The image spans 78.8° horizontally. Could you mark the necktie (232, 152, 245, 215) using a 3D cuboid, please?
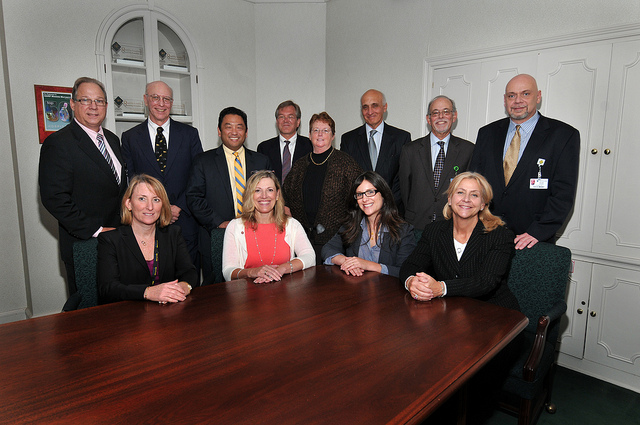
[{"bbox_3d":[-0.807,-0.297,3.908,0.094,0.596,0.277,-4,14,-12],"label":"necktie"}]

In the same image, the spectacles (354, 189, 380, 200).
[{"bbox_3d":[0.386,-0.151,3.189,0.190,0.079,0.057,1,13,8],"label":"spectacles"}]

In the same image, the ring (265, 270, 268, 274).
[{"bbox_3d":[-0.383,0.421,2.758,0.025,0.026,0.006,-13,4,-26],"label":"ring"}]

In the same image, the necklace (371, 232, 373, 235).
[{"bbox_3d":[0.436,0.173,3.267,0.021,0.022,0.021,6,6,1],"label":"necklace"}]

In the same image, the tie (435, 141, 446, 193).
[{"bbox_3d":[1.211,-0.500,3.921,0.112,0.393,0.040,5,-6,16],"label":"tie"}]

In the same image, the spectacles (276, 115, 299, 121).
[{"bbox_3d":[-0.402,-1.121,4.602,0.219,0.065,0.066,1,13,6],"label":"spectacles"}]

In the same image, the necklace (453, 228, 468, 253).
[{"bbox_3d":[1.070,0.215,2.942,0.138,0.147,0.043,14,25,31],"label":"necklace"}]

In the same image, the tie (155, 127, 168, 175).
[{"bbox_3d":[-1.593,-0.632,3.897,0.125,0.431,0.173,-8,15,-29],"label":"tie"}]

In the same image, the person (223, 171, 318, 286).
[{"bbox_3d":[-0.419,0.070,3.137,0.701,1.052,0.832,-9,7,-13],"label":"person"}]

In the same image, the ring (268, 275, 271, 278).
[{"bbox_3d":[-0.359,0.450,2.741,0.016,0.016,0.004,-1,-1,-25],"label":"ring"}]

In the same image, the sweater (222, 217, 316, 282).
[{"bbox_3d":[-0.415,0.271,3.254,0.810,0.806,0.471,0,0,-17],"label":"sweater"}]

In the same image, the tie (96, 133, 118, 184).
[{"bbox_3d":[-1.910,-0.519,3.469,0.077,0.545,0.064,-19,-15,-16],"label":"tie"}]

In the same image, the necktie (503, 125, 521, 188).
[{"bbox_3d":[1.725,-0.509,3.488,0.201,0.529,0.104,-9,16,-32],"label":"necktie"}]

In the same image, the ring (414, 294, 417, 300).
[{"bbox_3d":[0.614,0.538,2.486,0.014,0.014,0.014,31,-2,1],"label":"ring"}]

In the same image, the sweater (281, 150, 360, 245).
[{"bbox_3d":[0.010,-0.176,3.963,0.920,0.977,0.536,-4,-2,24],"label":"sweater"}]

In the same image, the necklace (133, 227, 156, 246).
[{"bbox_3d":[-1.332,0.180,2.932,0.128,0.114,0.006,-7,22,-26],"label":"necklace"}]

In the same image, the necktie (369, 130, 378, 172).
[{"bbox_3d":[0.590,-0.693,4.302,0.089,0.431,0.197,1,14,7],"label":"necktie"}]
